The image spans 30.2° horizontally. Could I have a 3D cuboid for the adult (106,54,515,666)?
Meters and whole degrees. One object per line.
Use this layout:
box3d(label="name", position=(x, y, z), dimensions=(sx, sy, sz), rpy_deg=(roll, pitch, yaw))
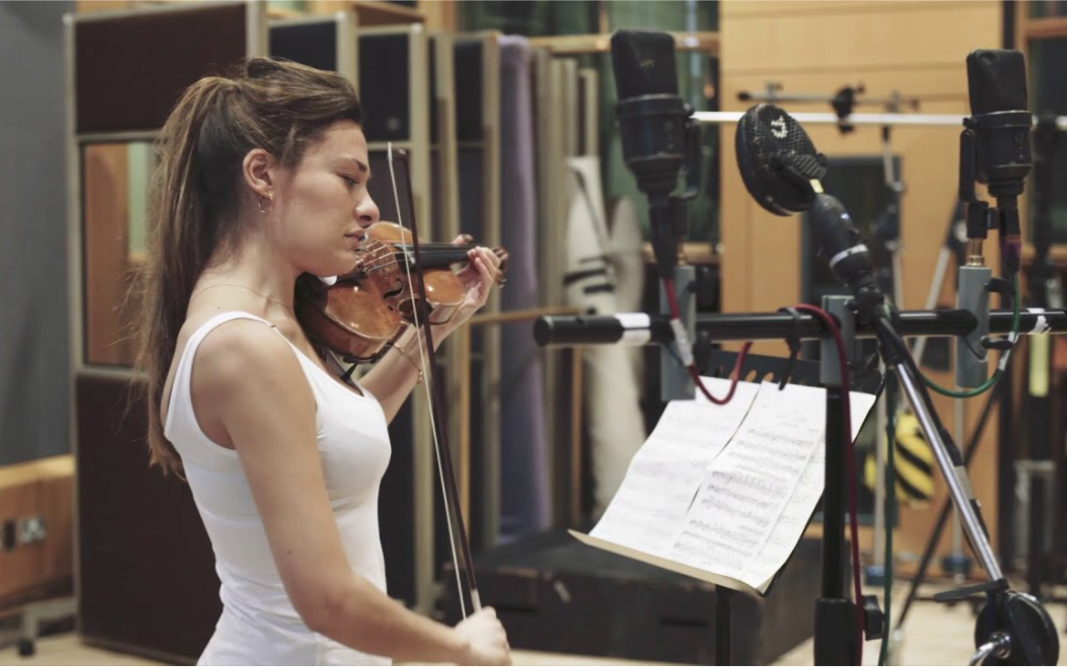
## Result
box3d(label="adult", position=(-0.769, 0.106, 6.388), dimensions=(1.010, 1.976, 0.767), rpy_deg=(-1, 4, -13))

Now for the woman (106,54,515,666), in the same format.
box3d(label="woman", position=(-0.764, 0.106, 6.389), dimensions=(1.025, 1.976, 0.758), rpy_deg=(-1, 4, -12))

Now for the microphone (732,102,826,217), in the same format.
box3d(label="microphone", position=(0.764, -0.535, 6.283), dimensions=(0.250, 0.364, 0.129), rpy_deg=(-38, 17, -22))

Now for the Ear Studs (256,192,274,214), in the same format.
box3d(label="Ear Studs", position=(-0.867, -0.414, 6.297), dimensions=(0.049, 0.068, 0.024), rpy_deg=(3, 1, 8))
